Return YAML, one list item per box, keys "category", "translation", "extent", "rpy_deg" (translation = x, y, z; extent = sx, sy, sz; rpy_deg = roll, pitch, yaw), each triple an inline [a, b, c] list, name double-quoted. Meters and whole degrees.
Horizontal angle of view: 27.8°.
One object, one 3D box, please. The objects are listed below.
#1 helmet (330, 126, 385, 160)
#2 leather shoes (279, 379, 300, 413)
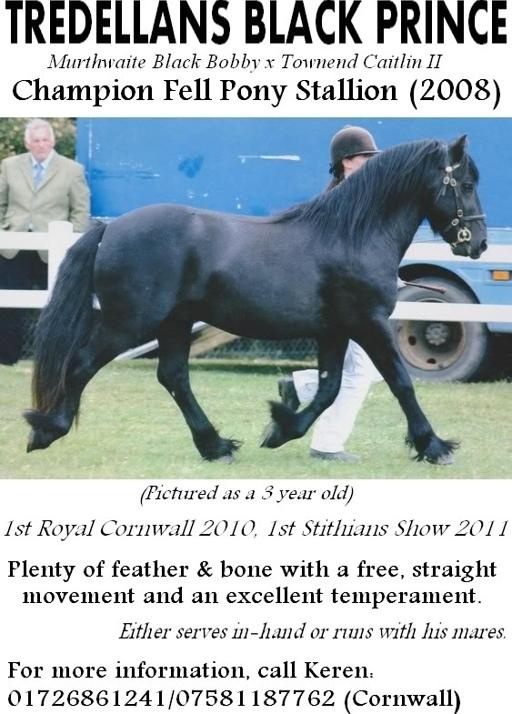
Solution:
- category: "helmet"
  translation: [0.511, -1.090, 5.286]
  extent: [0.233, 0.139, 0.164]
  rpy_deg: [-5, 13, 5]
- category: "leather shoes"
  translation: [0.163, 0.202, 5.251]
  extent: [0.097, 0.157, 0.067]
  rpy_deg: [-14, 4, 31]
